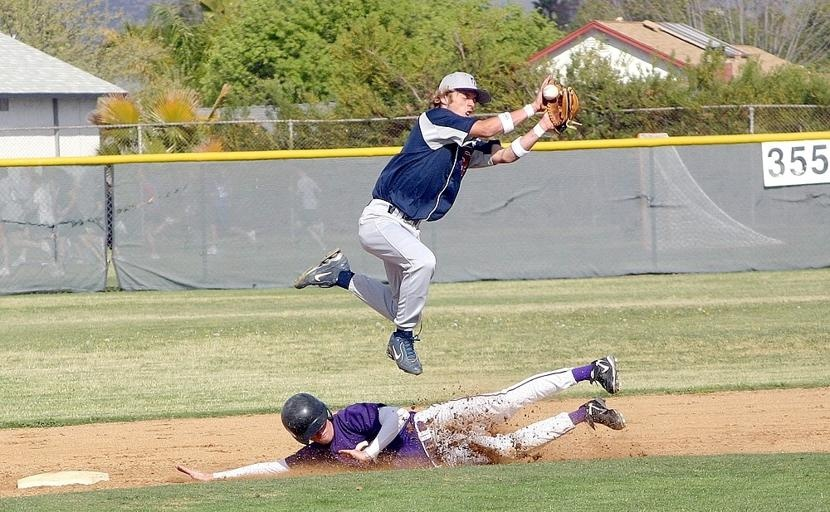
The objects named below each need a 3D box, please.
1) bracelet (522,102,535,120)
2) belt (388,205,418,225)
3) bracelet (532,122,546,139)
[{"bbox_3d":[2.257,-2.781,33.941,0.275,0.237,0.097,7,4,23],"label":"bracelet"},{"bbox_3d":[-0.243,-0.774,34.345,0.506,0.170,0.360,31,-3,-9],"label":"belt"},{"bbox_3d":[2.417,-2.420,33.988,0.267,0.302,0.209,-1,2,3],"label":"bracelet"}]
